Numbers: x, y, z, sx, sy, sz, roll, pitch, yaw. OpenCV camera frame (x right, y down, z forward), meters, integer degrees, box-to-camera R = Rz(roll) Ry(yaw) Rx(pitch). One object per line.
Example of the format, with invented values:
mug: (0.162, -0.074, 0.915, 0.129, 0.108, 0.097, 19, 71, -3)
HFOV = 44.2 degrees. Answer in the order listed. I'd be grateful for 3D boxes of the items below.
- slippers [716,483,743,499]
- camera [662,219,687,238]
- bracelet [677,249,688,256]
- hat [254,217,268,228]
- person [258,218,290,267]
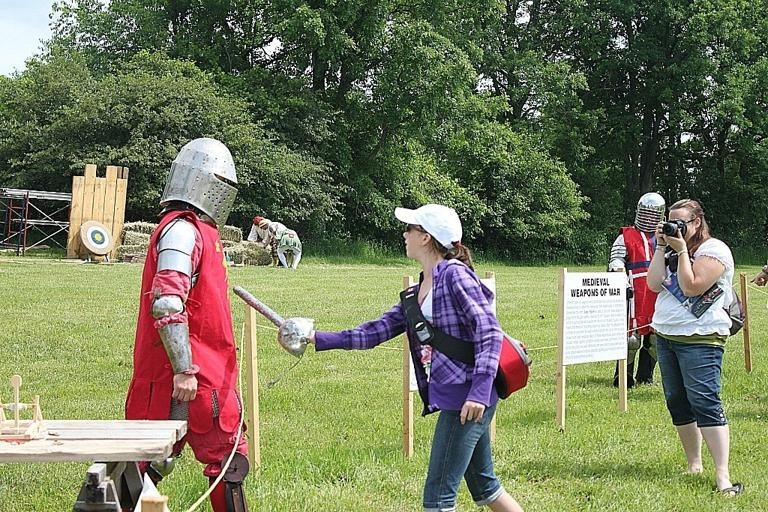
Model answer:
slippers: (5.749, 3.901, 15.706, 0.368, 0.131, 0.178, -10, 6, 12)
camera: (4.850, -0.459, 15.715, 0.285, 0.235, 0.379, 11, 5, -33)
bracelet: (4.990, -0.068, 15.779, 0.170, 0.114, 0.220, 1, -1, 14)
hat: (-4.231, -1.153, 32.616, 0.409, 0.191, 0.585, -3, 1, 1)
person: (-3.905, -0.475, 33.133, 0.940, 1.375, 1.846, 1, -1, 13)
